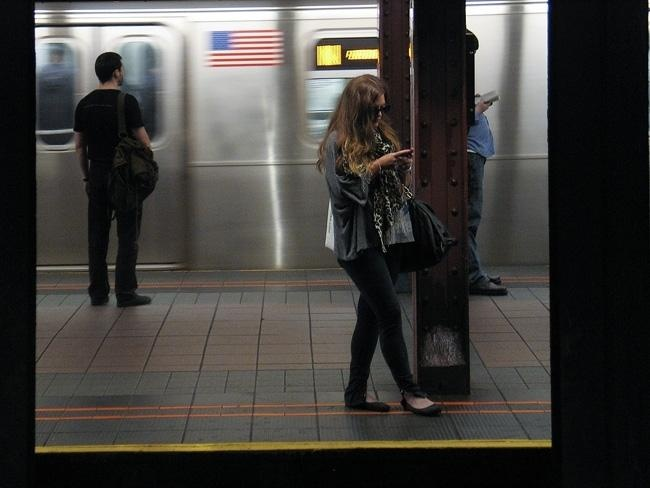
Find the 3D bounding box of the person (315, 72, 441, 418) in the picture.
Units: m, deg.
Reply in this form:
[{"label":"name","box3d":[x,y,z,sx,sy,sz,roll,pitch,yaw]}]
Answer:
[{"label":"person","box3d":[0.288,0.048,3.652,0.640,2.025,0.384,-2,9,-1]}]

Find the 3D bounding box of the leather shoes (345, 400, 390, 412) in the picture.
[{"label":"leather shoes","box3d":[0.266,1.000,3.870,0.249,0.061,0.092,-2,-1,13]}]

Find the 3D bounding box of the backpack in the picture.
[{"label":"backpack","box3d":[-1.858,-0.851,5.921,0.464,1.161,0.259,-1,9,7]}]

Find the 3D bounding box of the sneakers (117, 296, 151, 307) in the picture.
[{"label":"sneakers","box3d":[-1.957,0.540,6.393,0.326,0.141,0.119,-7,10,-27]}]
